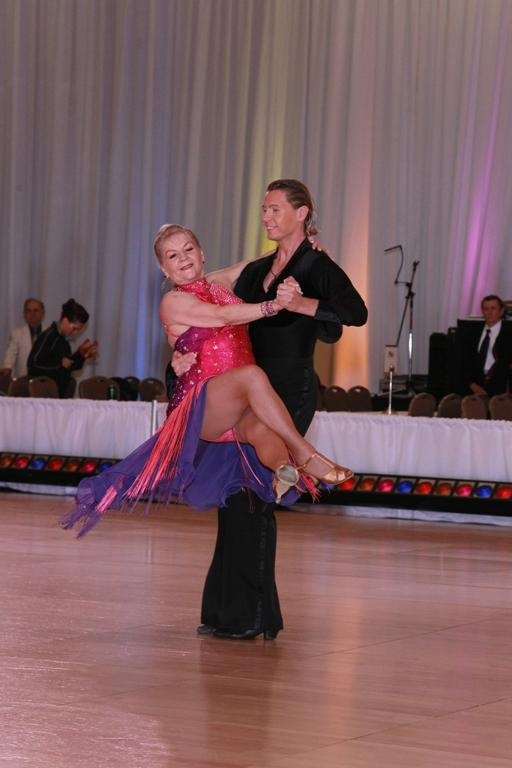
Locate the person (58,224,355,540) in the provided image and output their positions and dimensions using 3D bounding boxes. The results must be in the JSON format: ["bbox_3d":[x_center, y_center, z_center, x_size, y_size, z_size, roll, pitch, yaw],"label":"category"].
[{"bbox_3d":[-0.202,-0.029,2.098,0.796,0.741,0.515,-9,4,-2],"label":"person"}]

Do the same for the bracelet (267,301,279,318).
[{"bbox_3d":[0.047,-0.200,1.900,0.030,0.032,0.036,1,-2,7],"label":"bracelet"}]

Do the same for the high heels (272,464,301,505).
[{"bbox_3d":[0.078,0.263,1.950,0.086,0.065,0.161,13,-25,-4],"label":"high heels"}]

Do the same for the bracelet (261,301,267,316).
[{"bbox_3d":[0.019,-0.197,1.898,0.017,0.033,0.026,4,6,-7],"label":"bracelet"}]
